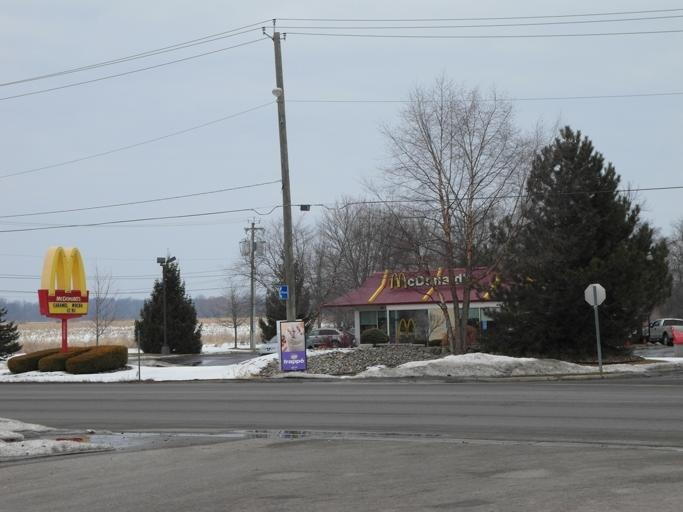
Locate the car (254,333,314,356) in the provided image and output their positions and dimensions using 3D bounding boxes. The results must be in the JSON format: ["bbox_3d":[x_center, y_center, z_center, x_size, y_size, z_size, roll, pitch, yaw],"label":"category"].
[{"bbox_3d":[-2.977,4.764,55.604,2.222,1.207,1.307,5,-6,-28],"label":"car"}]

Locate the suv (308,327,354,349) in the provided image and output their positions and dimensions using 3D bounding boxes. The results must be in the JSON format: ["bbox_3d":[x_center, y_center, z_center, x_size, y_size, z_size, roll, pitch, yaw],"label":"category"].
[{"bbox_3d":[-0.580,4.429,57.393,2.125,0.842,1.022,2,-2,6],"label":"suv"}]
